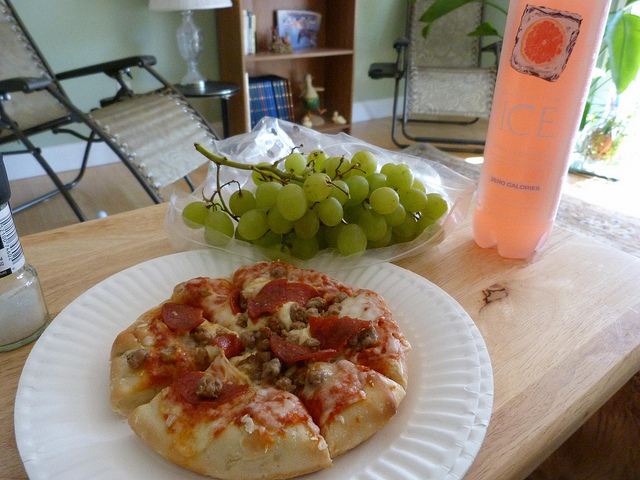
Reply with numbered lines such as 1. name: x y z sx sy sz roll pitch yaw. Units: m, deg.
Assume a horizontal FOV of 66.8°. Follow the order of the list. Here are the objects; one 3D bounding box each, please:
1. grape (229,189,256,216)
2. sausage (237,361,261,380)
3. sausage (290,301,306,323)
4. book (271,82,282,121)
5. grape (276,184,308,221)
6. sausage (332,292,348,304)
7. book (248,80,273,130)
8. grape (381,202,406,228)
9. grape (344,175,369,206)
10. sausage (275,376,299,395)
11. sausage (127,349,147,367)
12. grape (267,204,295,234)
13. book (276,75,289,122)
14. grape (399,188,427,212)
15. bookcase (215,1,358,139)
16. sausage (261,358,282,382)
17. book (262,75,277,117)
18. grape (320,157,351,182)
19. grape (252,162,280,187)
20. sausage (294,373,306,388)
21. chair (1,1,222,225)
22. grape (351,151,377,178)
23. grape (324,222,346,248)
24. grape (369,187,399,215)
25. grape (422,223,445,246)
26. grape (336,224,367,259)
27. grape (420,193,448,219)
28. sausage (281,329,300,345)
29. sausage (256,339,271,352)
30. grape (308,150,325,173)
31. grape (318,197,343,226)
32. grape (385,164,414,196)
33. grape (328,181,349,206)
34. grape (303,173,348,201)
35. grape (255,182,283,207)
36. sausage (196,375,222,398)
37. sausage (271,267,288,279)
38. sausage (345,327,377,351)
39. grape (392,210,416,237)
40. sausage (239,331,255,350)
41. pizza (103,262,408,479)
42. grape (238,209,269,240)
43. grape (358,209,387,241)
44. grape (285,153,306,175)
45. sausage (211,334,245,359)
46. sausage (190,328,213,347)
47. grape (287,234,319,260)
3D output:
1. grape: -0.143 -0.073 0.939 0.044 0.058 0.046 -2 9 0
2. sausage: -0.095 0.178 0.665 0.025 0.007 0.019 33 57 16
3. sausage: -0.032 0.107 0.724 0.022 0.010 0.024 14 53 3
4. book: -0.269 -0.888 3.057 0.032 0.154 0.144 -12 19 -1
5. grape: -0.048 -0.066 0.847 0.053 0.071 0.056 1 4 4
6. sausage: 0.032 0.089 0.751 0.014 0.006 0.015 3 32 17
7. book: -0.370 -0.914 3.082 0.144 0.264 0.264 -2 37 -6
8. grape: 0.136 -0.041 0.918 0.038 0.042 0.050 6 75 1
9. grape: 0.072 -0.094 0.904 0.045 0.060 0.047 5 1 -3
10. sausage: -0.044 0.196 0.656 0.026 0.007 0.021 42 19 6
11. sausage: -0.252 0.162 0.672 0.021 0.008 0.019 -25 48 -35
12. grape: -0.069 -0.037 0.881 0.045 0.058 0.047 3 -1 1
13. book: -0.221 -0.900 3.080 0.062 0.291 0.263 -5 16 -10
14. grape: 0.177 -0.077 0.930 0.047 0.038 0.037 17 40 0
15. bookcase: -0.215 -1.063 2.930 0.658 1.215 0.348 -16 33 -27
16. sausage: -0.065 0.176 0.656 0.020 0.011 0.028 37 76 3
17. book: -0.300 -0.907 3.050 0.061 0.234 0.161 -6 7 12
18. grape: 0.028 -0.131 0.935 0.050 0.045 0.041 0 -10 1
19. grape: -0.106 -0.119 0.955 0.049 0.063 0.051 -1 -4 -16
20. sausage: -0.025 0.192 0.668 0.018 0.004 0.011 -52 38 -10
21. chair: -0.993 -0.605 2.228 1.122 0.748 0.598 34 37 20
22. grape: 0.091 -0.144 0.988 0.044 0.049 0.057 16 59 13
23. grape: 0.028 -0.010 0.922 0.033 0.049 0.036 12 31 -9
24. grape: 0.117 -0.070 0.876 0.042 0.056 0.046 -1 -1 7
25. grape: 0.222 -0.013 0.933 0.036 0.032 0.042 -3 14 0
26. grape: 0.056 0.001 0.876 0.052 0.070 0.055 1 4 8
27. grape: 0.218 -0.065 0.937 0.039 0.050 0.051 8 38 7
28. sausage: -0.041 0.139 0.696 0.020 0.008 0.014 29 31 0
29. sausage: -0.078 0.150 0.687 0.016 0.006 0.017 8 42 13
30. grape: -0.004 -0.161 0.965 0.036 0.040 0.047 6 60 2
31. grape: 0.020 -0.051 0.876 0.043 0.059 0.044 0 7 4
32. grape: 0.153 -0.115 0.917 0.052 0.055 0.071 15 78 8
33. grape: 0.035 -0.087 0.894 0.037 0.047 0.036 2 -11 0
34. grape: 0.019 -0.080 0.852 0.090 0.042 0.050 -7 46 -18
35. grape: -0.094 -0.085 0.891 0.047 0.038 0.034 -6 30 -39
36. sausage: -0.143 0.190 0.630 0.022 0.011 0.025 5 27 -5
37. sausage: -0.065 0.052 0.783 0.018 0.008 0.019 15 41 8
38. sausage: 0.062 0.142 0.695 0.030 0.013 0.031 -29 -4 13
39. grape: 0.159 -0.032 0.934 0.041 0.056 0.045 1 8 7
40. sausage: -0.103 0.145 0.701 0.018 0.008 0.024 -27 79 5
41. pizza: -0.082 0.167 0.700 0.402 0.094 0.339 17 40 21
42. grape: -0.121 -0.024 0.913 0.065 0.053 0.049 -20 -11 37
43. grape: 0.099 -0.025 0.903 0.051 0.066 0.050 -6 1 -8
44. grape: -0.046 -0.151 0.952 0.033 0.036 0.045 23 34 2
45. sausage: -0.128 0.150 0.698 0.032 0.019 0.033 22 37 -12
46. sausage: -0.170 0.142 0.708 0.032 0.009 0.020 31 80 13
47. grape: -0.030 0.009 0.910 0.044 0.057 0.045 0 5 17
